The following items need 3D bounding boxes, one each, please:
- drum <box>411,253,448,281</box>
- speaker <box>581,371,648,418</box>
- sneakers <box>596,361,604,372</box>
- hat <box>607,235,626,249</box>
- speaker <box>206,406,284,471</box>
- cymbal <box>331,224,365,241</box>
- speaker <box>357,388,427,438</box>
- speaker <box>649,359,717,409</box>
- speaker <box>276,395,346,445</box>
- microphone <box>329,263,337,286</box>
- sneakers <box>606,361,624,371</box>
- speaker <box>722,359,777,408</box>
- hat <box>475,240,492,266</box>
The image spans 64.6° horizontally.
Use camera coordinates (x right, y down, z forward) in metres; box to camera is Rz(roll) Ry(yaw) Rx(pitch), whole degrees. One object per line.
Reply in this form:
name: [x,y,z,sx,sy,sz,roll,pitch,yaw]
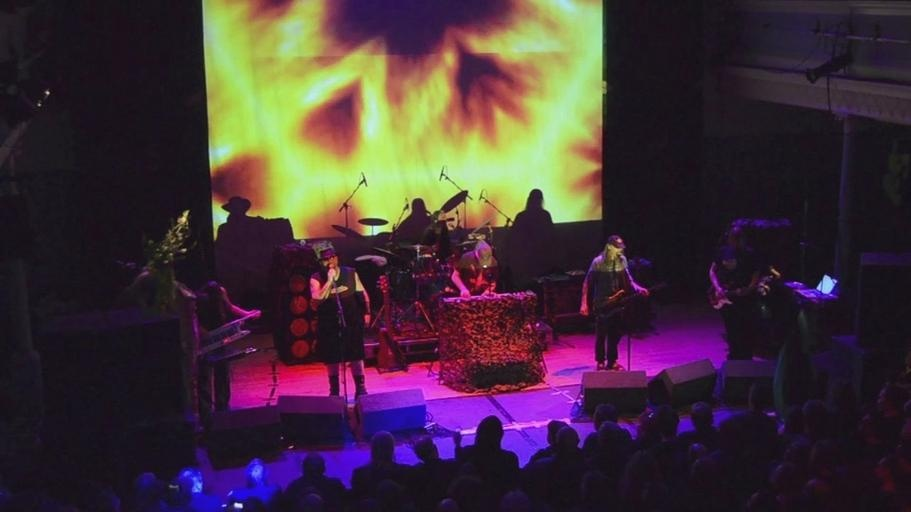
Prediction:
drum: [-0.411,0.172,11.521,0.576,0.368,0.344,-1,0,15]
speaker: [2.116,1.771,9.607,0.830,0.515,0.565,-2,7,8]
sneakers: [2.104,1.613,10.526,0.139,0.137,0.135,0,5,-2]
hat: [2.401,-0.229,10.857,0.216,0.202,0.163,-21,19,10]
speaker: [-2.630,2.148,8.984,1.164,0.755,0.603,-2,14,-14]
cymbal: [-1.761,-0.400,11.921,0.193,0.091,0.946,-24,-23,13]
speaker: [-0.827,1.947,9.340,0.791,0.455,0.537,-4,9,-17]
speaker: [3.153,1.796,9.668,0.917,0.588,0.703,-8,-17,39]
speaker: [-1.838,2.050,9.332,1.106,0.542,0.730,2,7,-5]
microphone: [-1.646,0.253,9.581,0.070,0.230,0.174,14,-14,-19]
sneakers: [2.352,1.597,10.504,0.347,0.137,0.113,-5,8,-35]
speaker: [4.090,1.694,9.670,0.904,0.510,0.884,-2,-16,24]
hat: [0.404,-0.053,10.442,0.250,0.364,0.284,-8,-15,2]
